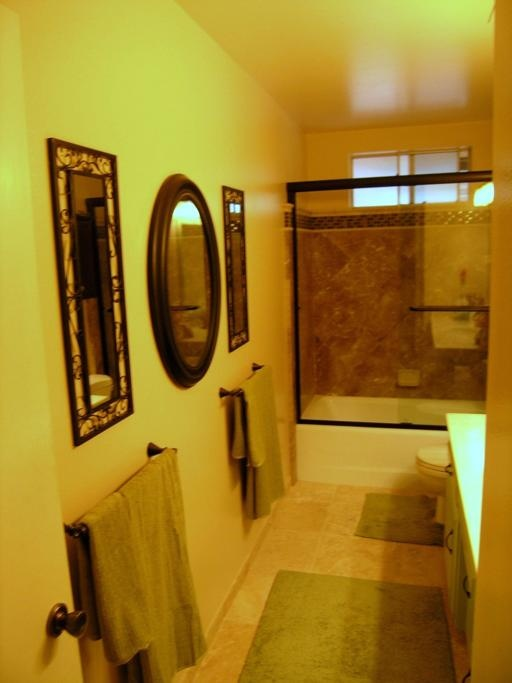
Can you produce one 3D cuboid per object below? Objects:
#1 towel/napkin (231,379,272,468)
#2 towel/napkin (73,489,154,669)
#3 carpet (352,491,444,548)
[{"bbox_3d":[-0.030,0.359,2.447,0.083,0.248,0.401,0,4,16],"label":"towel/napkin"},{"bbox_3d":[-0.312,0.545,1.279,0.086,0.371,0.187,-1,7,7],"label":"towel/napkin"},{"bbox_3d":[0.851,1.028,3.306,0.469,0.028,0.664,0,8,15],"label":"carpet"}]
